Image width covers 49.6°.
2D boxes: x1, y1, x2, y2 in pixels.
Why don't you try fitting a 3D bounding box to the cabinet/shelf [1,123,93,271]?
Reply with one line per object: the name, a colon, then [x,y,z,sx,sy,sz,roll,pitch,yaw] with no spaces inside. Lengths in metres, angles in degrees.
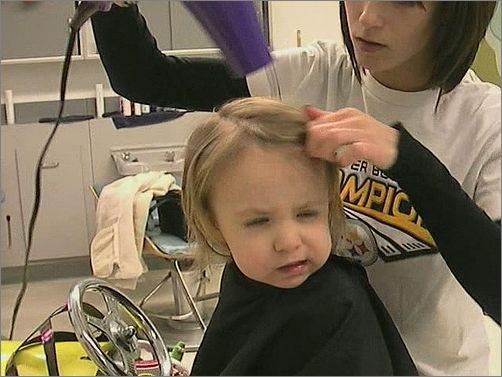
cabinet/shelf: [-1.325,0.011,3.479,0.864,0.939,0.287,-2,12,-10]
